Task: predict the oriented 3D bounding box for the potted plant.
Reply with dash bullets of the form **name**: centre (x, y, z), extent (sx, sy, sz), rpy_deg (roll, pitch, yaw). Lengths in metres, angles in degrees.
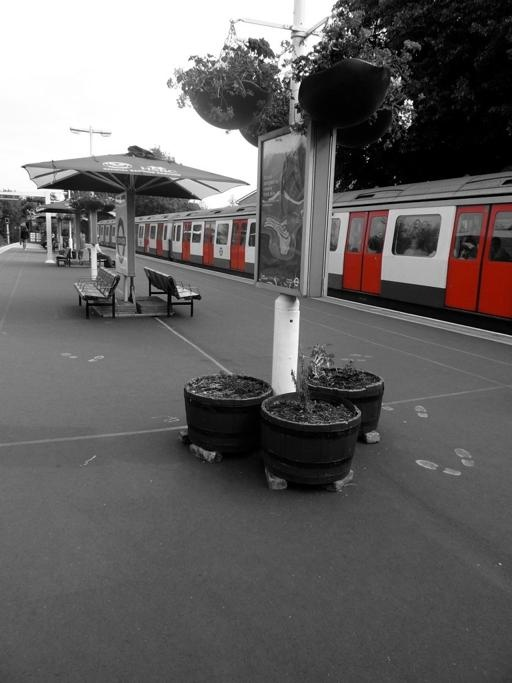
- **potted plant**: centre (0.186, 0.538, 3.270), extent (0.795, 0.421, 1.134), rpy_deg (-2, 4, -32)
